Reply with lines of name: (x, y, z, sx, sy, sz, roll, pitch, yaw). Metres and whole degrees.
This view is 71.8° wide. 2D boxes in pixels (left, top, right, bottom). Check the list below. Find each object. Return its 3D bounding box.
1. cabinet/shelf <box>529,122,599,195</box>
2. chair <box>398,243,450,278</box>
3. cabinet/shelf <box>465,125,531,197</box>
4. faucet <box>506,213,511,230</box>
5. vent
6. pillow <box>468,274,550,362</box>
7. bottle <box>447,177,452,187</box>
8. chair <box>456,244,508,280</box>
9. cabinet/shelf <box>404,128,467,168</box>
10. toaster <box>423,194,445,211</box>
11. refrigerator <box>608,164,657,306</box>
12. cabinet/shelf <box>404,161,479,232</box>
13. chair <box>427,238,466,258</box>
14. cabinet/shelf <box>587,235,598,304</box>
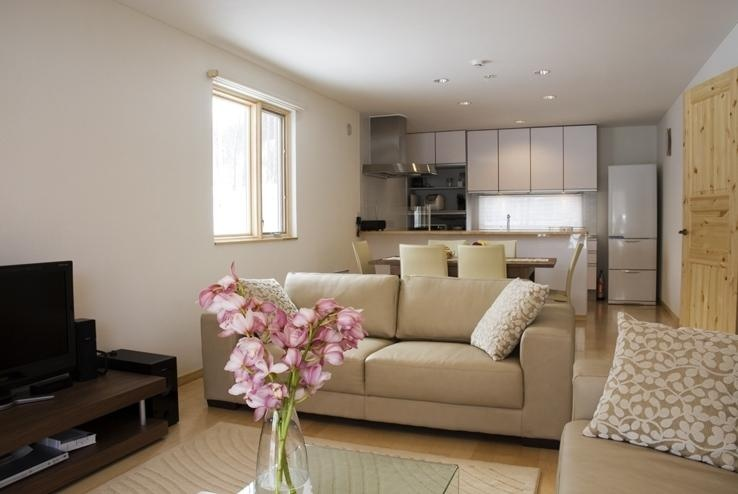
cabinet/shelf: (3.311, -1.532, 8.615, 1.124, 1.082, 0.366, 0, 0, 18)
chair: (0.661, 0.131, 5.834, 0.367, 0.534, 0.438, 2, 4, 23)
cabinet/shelf: (2.282, -1.544, 8.876, 1.090, 1.055, 0.355, 0, 1, 22)
faucet: (2.596, -0.476, 9.403, 0.085, 0.280, 0.282, 2, 9, 15)
vent: (0.512, -1.572, 8.179, 1.095, 0.957, 0.983, 1, 3, 36)
pillow: (1.039, 0.514, 3.756, 0.537, 0.511, 0.442, 0, 9, 8)
bottle: (1.521, -1.206, 9.492, 0.093, 0.158, 0.111, 1, 9, 11)
chair: (1.231, 0.127, 5.540, 0.382, 0.555, 0.454, 2, 2, 25)
cabinet/shelf: (1.221, -1.764, 9.015, 0.868, 0.540, 0.258, 1, 1, 17)
toaster: (1.215, -0.806, 9.529, 0.345, 0.319, 0.329, -1, -2, 43)
refrigerator: (4.251, -0.204, 8.218, 0.668, 2.182, 0.380, 0, 9, 3)
cabinet/shelf: (1.364, -0.911, 9.271, 1.275, 1.455, 0.424, -1, -5, 16)
chair: (1.156, -0.042, 7.461, 0.361, 0.462, 0.380, -1, -5, 23)
cabinet/shelf: (3.968, 0.320, 9.033, 0.179, 1.059, 0.300, 3, 10, 23)
